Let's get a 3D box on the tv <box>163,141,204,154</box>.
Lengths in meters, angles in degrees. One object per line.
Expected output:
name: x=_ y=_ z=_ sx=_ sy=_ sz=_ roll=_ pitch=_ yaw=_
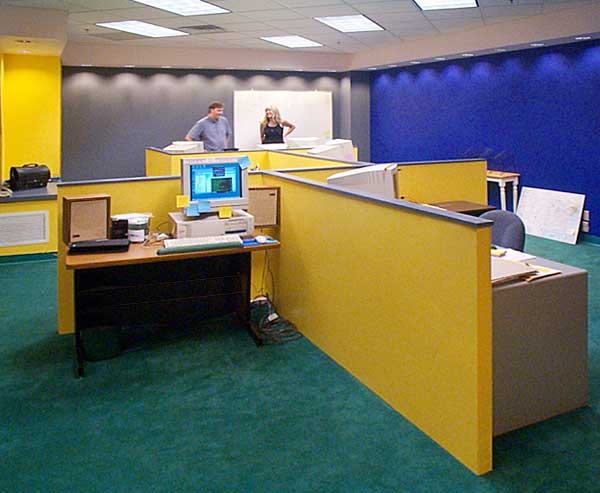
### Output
tv: x=-1.618 y=-1.366 z=6.767 sx=0.532 sy=0.148 sz=0.501 roll=-6 pitch=14 yaw=-15

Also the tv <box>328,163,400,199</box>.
tv: x=0.517 y=-0.488 z=3.624 sx=0.356 sy=0.280 sz=0.366 roll=-3 pitch=9 yaw=-9

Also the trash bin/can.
trash bin/can: x=-1.450 y=0.519 z=3.551 sx=0.308 sy=0.453 sz=0.587 roll=-7 pitch=14 yaw=-21

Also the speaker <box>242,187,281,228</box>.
speaker: x=-0.296 y=-0.311 z=3.798 sx=0.283 sy=0.289 sz=0.281 roll=-2 pitch=6 yaw=-23

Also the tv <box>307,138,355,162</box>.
tv: x=0.473 y=-1.252 z=6.445 sx=0.592 sy=0.245 sz=0.451 roll=-6 pitch=12 yaw=-34

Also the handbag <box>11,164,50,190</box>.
handbag: x=-3.399 y=-0.867 z=6.097 sx=0.415 sy=0.329 sz=0.340 roll=-10 pitch=19 yaw=-44

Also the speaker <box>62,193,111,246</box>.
speaker: x=-1.474 y=-0.178 z=3.375 sx=0.314 sy=0.316 sz=0.173 roll=-2 pitch=6 yaw=-31

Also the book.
book: x=1.167 y=0.135 z=2.631 sx=0.254 sy=0.065 sz=0.265 roll=-8 pitch=13 yaw=-26
